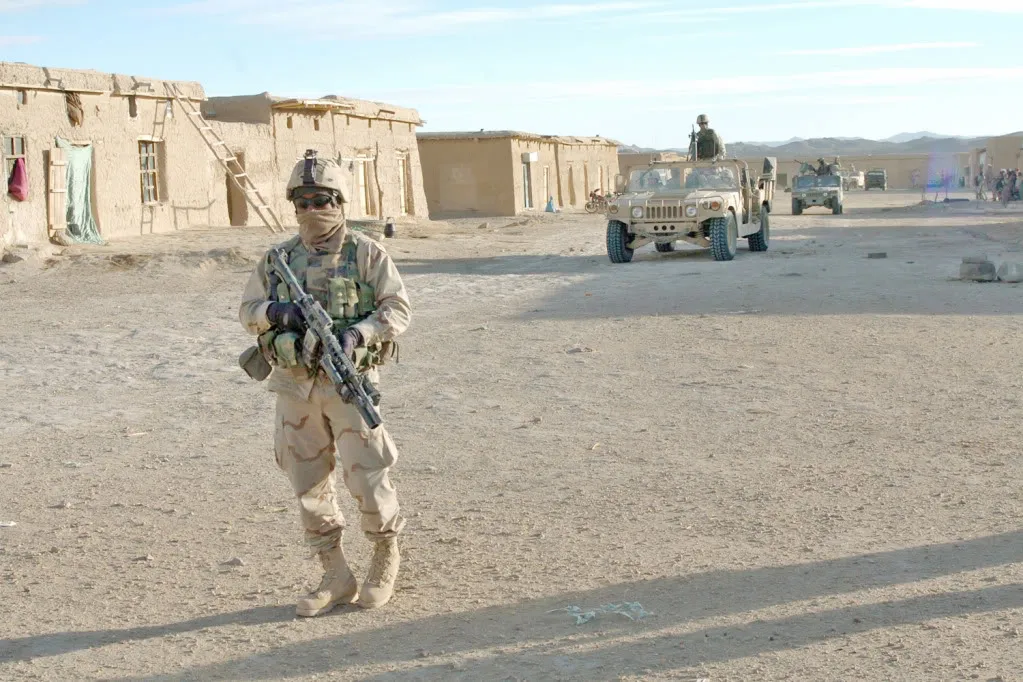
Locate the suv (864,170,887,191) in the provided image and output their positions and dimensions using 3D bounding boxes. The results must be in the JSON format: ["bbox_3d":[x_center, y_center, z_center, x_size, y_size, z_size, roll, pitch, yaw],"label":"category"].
[{"bbox_3d":[24.954,-11.292,66.003,1.406,0.825,2.353,0,4,18],"label":"suv"}]

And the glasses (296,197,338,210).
[{"bbox_3d":[-0.898,-0.627,4.276,0.183,0.058,0.057,-3,9,-9],"label":"glasses"}]

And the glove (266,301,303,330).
[{"bbox_3d":[-1.037,-0.110,4.163,0.145,0.122,0.047,-3,3,-6],"label":"glove"}]

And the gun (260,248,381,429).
[{"bbox_3d":[-0.862,-0.013,4.207,0.191,0.984,0.370,-26,-19,-48],"label":"gun"}]

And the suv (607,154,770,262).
[{"bbox_3d":[3.217,-2.491,17.773,2.062,1.912,2.645,2,10,29],"label":"suv"}]
